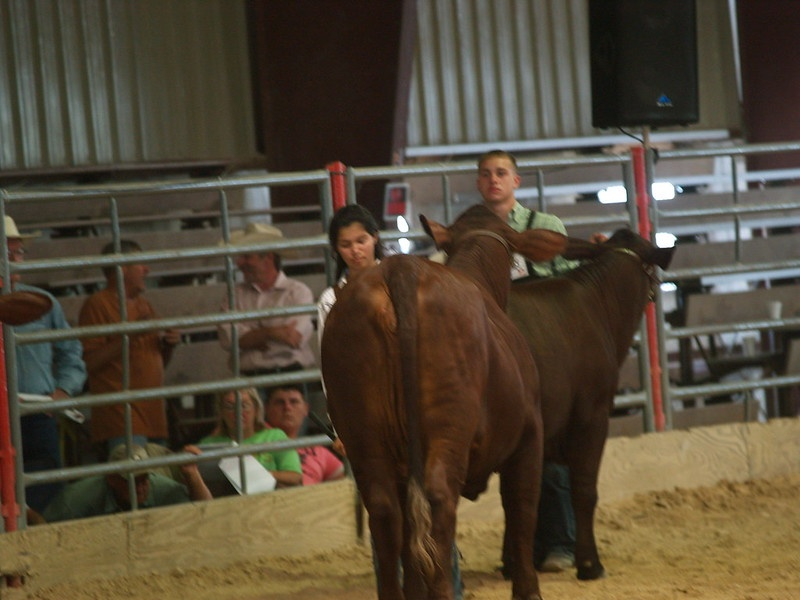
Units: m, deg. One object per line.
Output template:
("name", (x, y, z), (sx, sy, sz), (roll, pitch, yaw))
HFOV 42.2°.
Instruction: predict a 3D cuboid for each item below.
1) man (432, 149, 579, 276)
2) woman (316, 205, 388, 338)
("man", (0.590, -0.484, 5.783), (0.761, 0.728, 0.378), (-6, 4, 16))
("woman", (-0.240, -0.220, 5.452), (0.272, 0.798, 0.514), (-1, -29, 9))
